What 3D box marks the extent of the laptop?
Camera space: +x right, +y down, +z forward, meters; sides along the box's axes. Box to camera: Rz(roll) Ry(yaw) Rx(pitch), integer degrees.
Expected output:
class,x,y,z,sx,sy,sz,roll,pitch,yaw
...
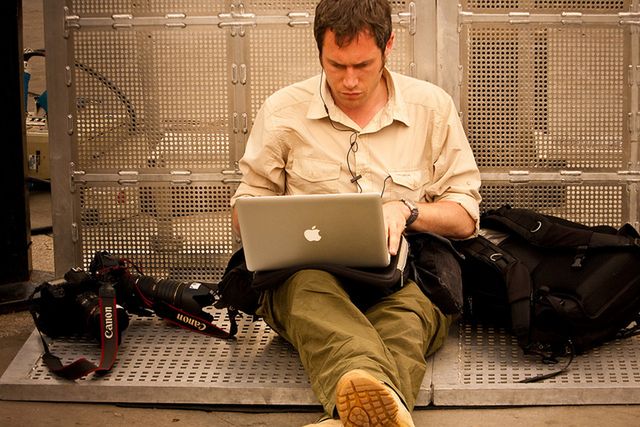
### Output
class,x,y,z,sx,sy,sz,roll,pitch,yaw
laptop,0.027,-0.018,3.697,0.854,0.495,0.512,1,7,12

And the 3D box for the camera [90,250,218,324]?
class,x,y,z,sx,sy,sz,roll,pitch,yaw
camera,-1.017,0.454,4.029,0.679,0.440,0.287,-1,15,-2

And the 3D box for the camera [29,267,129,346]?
class,x,y,z,sx,sy,sz,roll,pitch,yaw
camera,-1.466,0.555,3.914,0.460,0.283,0.444,32,37,33
